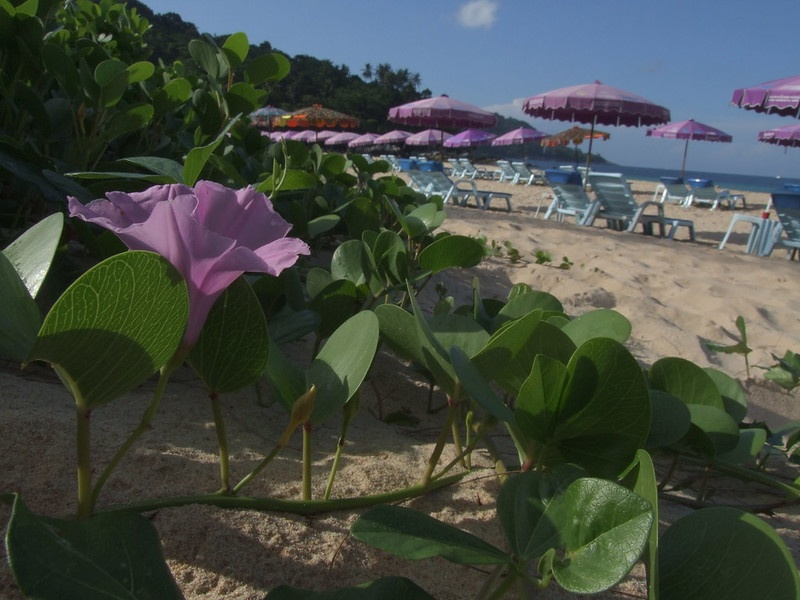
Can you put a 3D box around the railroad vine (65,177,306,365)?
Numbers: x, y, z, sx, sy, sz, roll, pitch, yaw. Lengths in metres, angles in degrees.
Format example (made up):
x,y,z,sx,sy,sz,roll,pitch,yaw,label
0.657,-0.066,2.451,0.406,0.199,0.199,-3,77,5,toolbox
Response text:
x,y,z,sx,sy,sz,roll,pitch,yaw,label
-0.277,-0.026,0.806,0.263,0.187,0.272,21,-3,20,railroad vine
